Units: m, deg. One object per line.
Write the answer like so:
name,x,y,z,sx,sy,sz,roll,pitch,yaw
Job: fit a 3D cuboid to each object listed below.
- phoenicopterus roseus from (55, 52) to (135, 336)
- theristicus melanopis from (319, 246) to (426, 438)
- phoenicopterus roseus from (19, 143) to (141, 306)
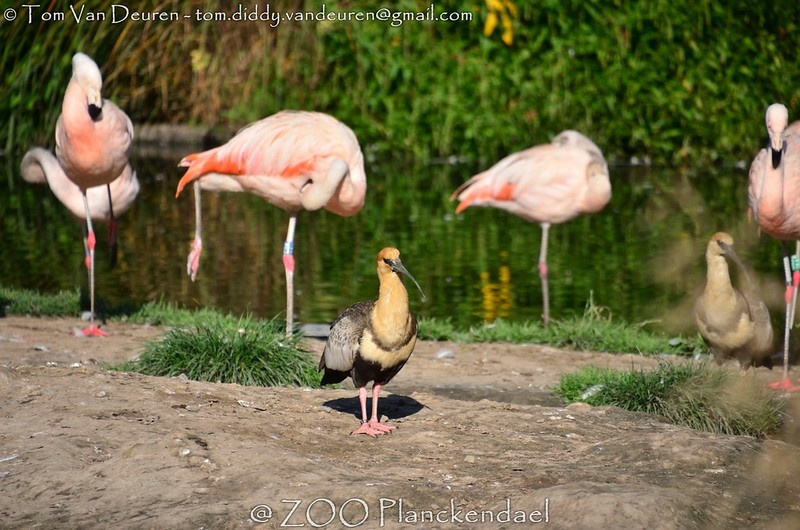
phoenicopterus roseus,-3.449,-1.357,11.599,1.065,3.159,1.203,2,-4,-9
theristicus melanopis,-0.259,0.690,9.292,0.838,1.616,1.250,1,0,-34
phoenicopterus roseus,-3.622,-0.465,12.417,0.914,1.877,1.723,5,-7,-9
